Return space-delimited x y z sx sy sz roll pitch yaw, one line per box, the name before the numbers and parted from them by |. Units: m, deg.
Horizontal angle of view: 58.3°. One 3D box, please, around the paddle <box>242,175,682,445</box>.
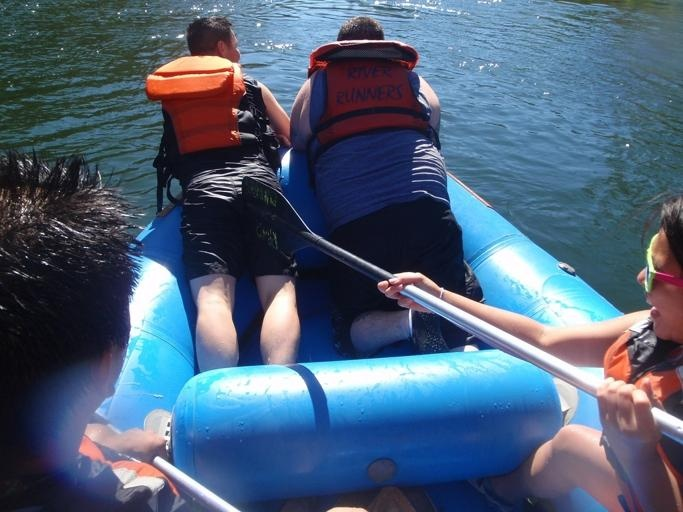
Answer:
paddle | 0.461 0.250 2.789 0.175 0.354 2.368 -23 43 -39
